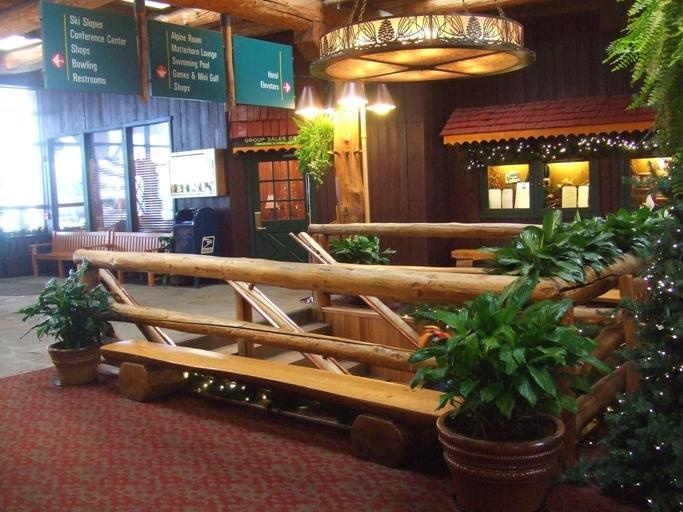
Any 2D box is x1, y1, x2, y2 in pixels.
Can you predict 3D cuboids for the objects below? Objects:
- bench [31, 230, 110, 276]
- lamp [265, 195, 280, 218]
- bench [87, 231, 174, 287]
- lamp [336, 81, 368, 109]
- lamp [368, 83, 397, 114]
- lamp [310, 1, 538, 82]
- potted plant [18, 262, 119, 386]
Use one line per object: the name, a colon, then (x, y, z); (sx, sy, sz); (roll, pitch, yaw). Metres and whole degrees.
bench: (-5.361, -0.056, 10.602); (1.620, 0.713, 0.589); (1, 15, 24)
lamp: (-1.219, -0.857, 9.240); (0.256, 0.440, 0.069); (-5, 12, -3)
bench: (-2.842, 0.029, 7.219); (1.354, 0.651, 0.461); (1, 3, 15)
lamp: (0.153, -1.998, 6.707); (0.452, 0.337, 0.381); (2, 4, 5)
lamp: (0.526, -2.096, 6.989); (0.297, 0.354, 0.273); (-4, 11, -3)
lamp: (0.615, -1.636, 4.196); (1.726, 0.283, 1.275); (0, 9, 16)
potted plant: (-2.464, 0.619, 5.043); (1.349, 1.060, 1.112); (0, -2, -14)
